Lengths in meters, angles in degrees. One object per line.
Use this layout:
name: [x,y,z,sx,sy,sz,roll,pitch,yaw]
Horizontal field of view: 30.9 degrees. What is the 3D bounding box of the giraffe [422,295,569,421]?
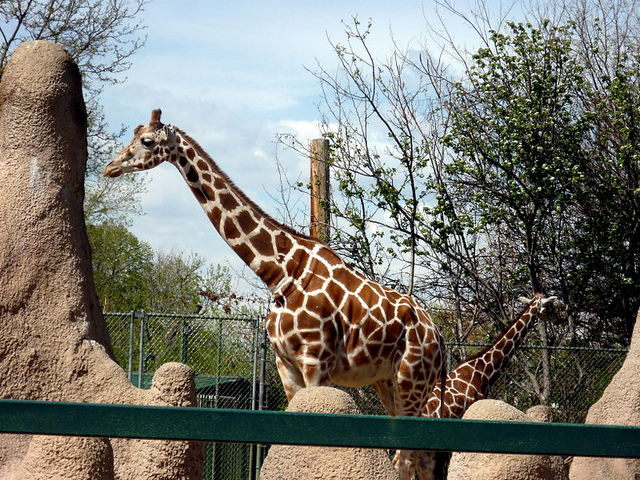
giraffe: [2.336,1.975,16.706,2.596,1.859,0.573,-14,19,-22]
